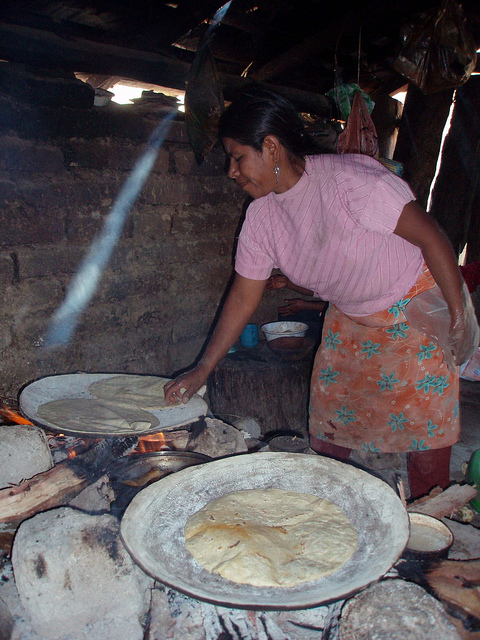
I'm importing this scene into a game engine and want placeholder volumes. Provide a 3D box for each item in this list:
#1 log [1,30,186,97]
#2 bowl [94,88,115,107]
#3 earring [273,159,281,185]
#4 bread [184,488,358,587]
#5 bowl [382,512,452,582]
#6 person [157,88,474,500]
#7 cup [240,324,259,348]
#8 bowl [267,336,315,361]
[{"bbox_3d":[-0.676,-1.274,2.984,0.087,0.188,1.037,25,29,39],"label":"log"},{"bbox_3d":[-0.672,-1.096,2.973,0.122,0.079,0.112,1,29,0],"label":"bowl"},{"bbox_3d":[0.137,-0.541,2.207,0.029,0.083,0.013,-8,28,-23],"label":"earring"},{"bbox_3d":[0.084,0.648,1.828,0.506,0.094,0.401,-1,20,-10],"label":"bread"},{"bbox_3d":[0.604,0.756,2.049,0.271,0.098,0.267,-2,1,0],"label":"bowl"},{"bbox_3d":[0.407,-0.064,2.391,1.065,1.571,0.393,10,26,15],"label":"person"},{"bbox_3d":[0.072,0.098,3.819,0.134,0.133,0.149,-1,8,8],"label":"cup"},{"bbox_3d":[0.331,0.175,3.710,0.269,0.091,0.240,-1,21,-10],"label":"bowl"}]
